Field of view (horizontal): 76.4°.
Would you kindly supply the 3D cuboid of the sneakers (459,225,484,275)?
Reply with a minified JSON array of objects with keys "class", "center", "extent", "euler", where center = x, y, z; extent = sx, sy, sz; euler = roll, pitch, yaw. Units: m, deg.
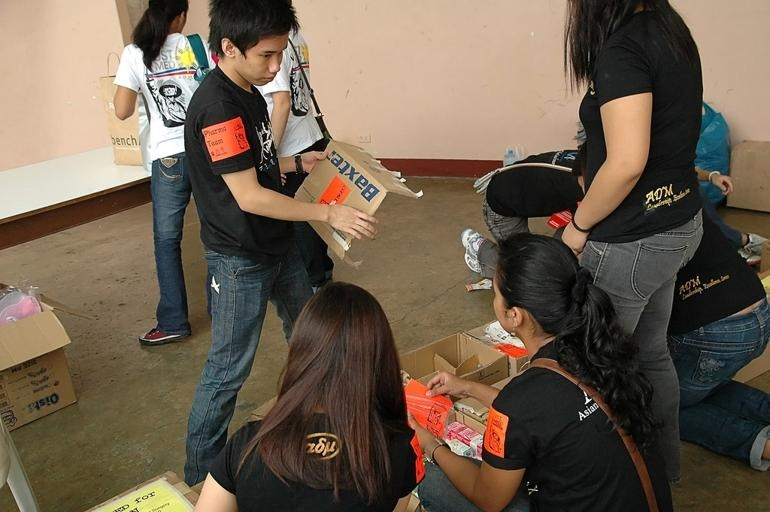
[{"class":"sneakers","center":[0.684,-0.045,3.823],"extent":[0.139,0.174,0.379],"euler":[39,25,-27]}]

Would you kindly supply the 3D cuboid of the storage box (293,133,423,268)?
[{"class":"storage box","center":[-0.113,-0.217,2.315],"extent":[0.561,0.552,0.348],"euler":[45,28,25]}]

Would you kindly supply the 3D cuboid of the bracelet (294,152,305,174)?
[{"class":"bracelet","center":[-0.414,-0.451,2.376],"extent":[0.053,0.086,0.085],"euler":[0,-17,-1]}]

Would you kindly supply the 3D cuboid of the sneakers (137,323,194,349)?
[{"class":"sneakers","center":[-1.424,0.522,3.191],"extent":[0.328,0.134,0.128],"euler":[0,11,-11]}]
